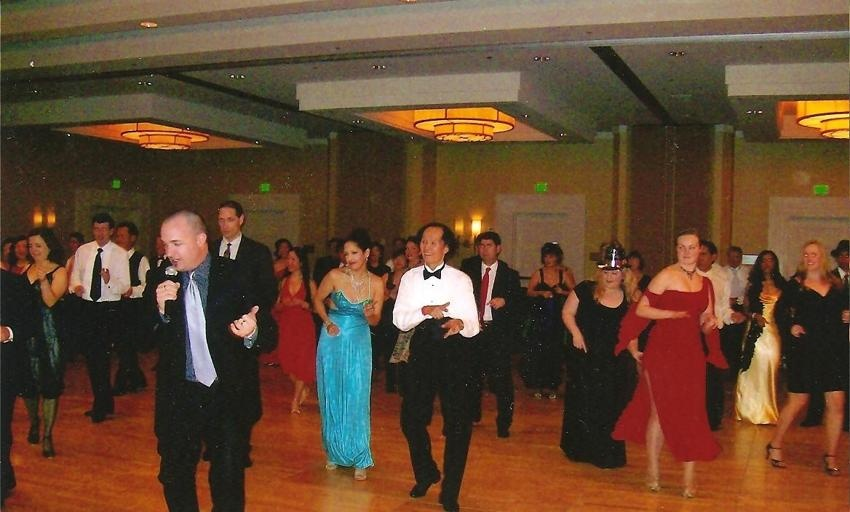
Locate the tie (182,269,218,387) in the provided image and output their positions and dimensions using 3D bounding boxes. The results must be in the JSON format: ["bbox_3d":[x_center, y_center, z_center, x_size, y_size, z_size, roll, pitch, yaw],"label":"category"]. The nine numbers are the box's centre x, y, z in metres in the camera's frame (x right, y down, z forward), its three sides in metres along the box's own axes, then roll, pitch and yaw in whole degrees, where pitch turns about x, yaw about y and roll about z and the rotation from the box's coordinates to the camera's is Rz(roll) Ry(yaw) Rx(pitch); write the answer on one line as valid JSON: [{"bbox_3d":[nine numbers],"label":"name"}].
[{"bbox_3d":[-1.833,0.590,6.361,0.282,0.914,0.059,2,0,9],"label":"tie"}]

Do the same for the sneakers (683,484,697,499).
[{"bbox_3d":[2.501,2.223,7.358,0.089,0.141,0.060,1,-16,8],"label":"sneakers"}]

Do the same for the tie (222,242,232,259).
[{"bbox_3d":[-2.001,-0.056,7.889,0.122,0.182,0.039,-4,-32,6],"label":"tie"}]

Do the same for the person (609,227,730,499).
[{"bbox_3d":[2.371,1.026,7.518,0.985,2.581,0.377,2,0,19],"label":"person"}]

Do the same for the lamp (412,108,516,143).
[{"bbox_3d":[0.526,-1.841,10.893,1.389,0.525,1.163,2,-1,-1],"label":"lamp"}]

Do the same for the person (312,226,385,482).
[{"bbox_3d":[-0.803,0.956,7.914,0.664,2.486,0.579,2,0,0],"label":"person"}]

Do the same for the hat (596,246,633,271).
[{"bbox_3d":[1.883,0.024,7.672,0.211,0.203,0.276,-1,-2,5],"label":"hat"}]

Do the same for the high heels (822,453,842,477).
[{"bbox_3d":[4.032,2.058,7.728,0.144,0.224,0.153,2,0,27],"label":"high heels"}]

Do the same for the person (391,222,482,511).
[{"bbox_3d":[0.088,1.011,7.338,0.786,2.667,0.412,2,0,4],"label":"person"}]

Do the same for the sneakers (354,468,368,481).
[{"bbox_3d":[-0.611,2.150,7.675,0.160,0.102,0.106,3,-1,-37],"label":"sneakers"}]

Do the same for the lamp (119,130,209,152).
[{"bbox_3d":[-3.228,-1.450,9.686,1.204,0.259,0.366,2,-1,10],"label":"lamp"}]

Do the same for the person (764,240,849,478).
[{"bbox_3d":[3.828,1.007,7.757,0.695,2.411,0.357,2,0,22],"label":"person"}]
